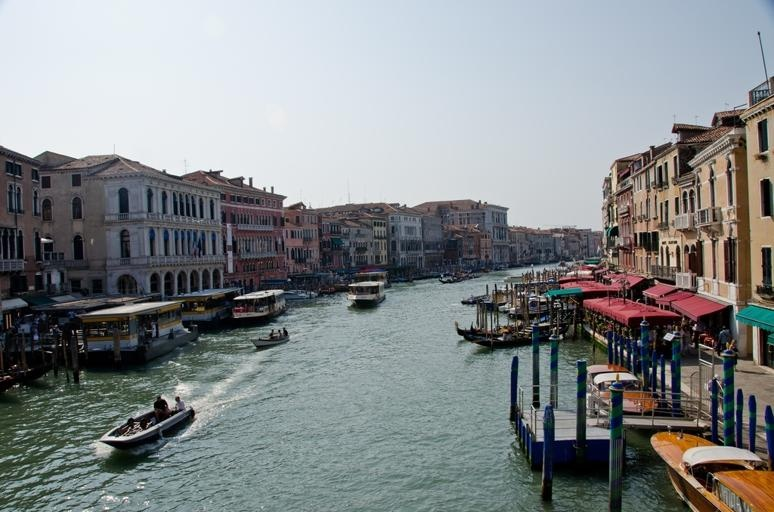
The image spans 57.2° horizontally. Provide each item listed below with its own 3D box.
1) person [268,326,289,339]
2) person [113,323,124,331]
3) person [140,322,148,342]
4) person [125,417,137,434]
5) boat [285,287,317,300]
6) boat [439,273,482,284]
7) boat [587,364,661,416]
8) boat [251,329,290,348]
[{"bbox_3d":[-10.175,7.224,66.631,1.095,0.949,2.110,2,-2,-28],"label":"person"},{"bbox_3d":[-21.518,5.701,57.180,0.837,0.787,0.611,0,1,-3],"label":"person"},{"bbox_3d":[-20.369,6.466,59.758,0.532,1.193,1.818,-5,15,-14],"label":"person"},{"bbox_3d":[-15.604,10.349,43.324,0.560,0.642,1.061,-6,15,-18],"label":"person"},{"bbox_3d":[-12.186,5.558,99.816,4.149,1.187,1.423,1,8,-1],"label":"boat"},{"bbox_3d":[14.028,3.988,137.555,2.918,2.045,12.319,0,-4,31],"label":"boat"},{"bbox_3d":[14.220,8.107,42.412,2.774,1.387,6.008,-1,4,7],"label":"boat"},{"bbox_3d":[-10.348,7.662,64.539,1.865,1.173,4.099,7,16,29],"label":"boat"}]
